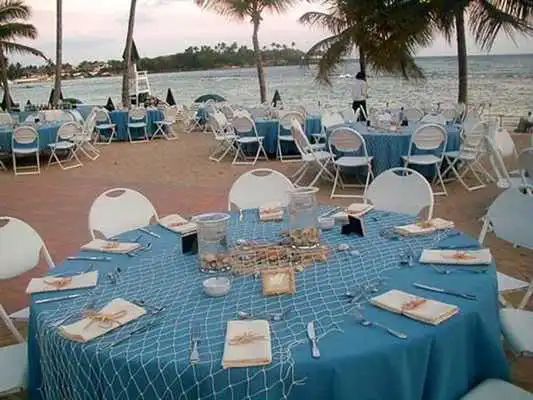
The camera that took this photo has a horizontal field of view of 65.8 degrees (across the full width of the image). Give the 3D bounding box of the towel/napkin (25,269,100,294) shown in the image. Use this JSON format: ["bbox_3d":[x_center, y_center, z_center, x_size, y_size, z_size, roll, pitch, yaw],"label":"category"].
[{"bbox_3d":[-1.172,0.472,2.368,0.301,0.053,0.182,-4,9,-5],"label":"towel/napkin"}]

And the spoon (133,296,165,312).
[{"bbox_3d":[-0.616,0.538,2.122,0.127,0.037,0.072,21,23,21],"label":"spoon"}]

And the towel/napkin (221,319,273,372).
[{"bbox_3d":[-0.083,0.631,1.835,0.217,0.096,0.225,-2,14,0],"label":"towel/napkin"}]

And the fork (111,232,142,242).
[{"bbox_3d":[-0.995,0.265,2.948,0.242,0.045,0.038,-5,6,31],"label":"fork"}]

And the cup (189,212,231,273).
[{"bbox_3d":[-0.322,0.247,2.444,0.236,0.311,0.234,-3,14,1],"label":"cup"}]

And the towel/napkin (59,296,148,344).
[{"bbox_3d":[-0.795,0.583,2.014,0.185,0.058,0.261,12,24,35],"label":"towel/napkin"}]

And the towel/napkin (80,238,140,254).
[{"bbox_3d":[-1.054,0.310,2.774,0.218,0.046,0.167,3,8,13],"label":"towel/napkin"}]

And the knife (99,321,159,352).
[{"bbox_3d":[-0.645,0.636,1.916,0.208,0.012,0.028,-23,34,-37],"label":"knife"}]

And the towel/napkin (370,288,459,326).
[{"bbox_3d":[0.720,0.511,2.000,0.179,0.053,0.242,-12,16,-43],"label":"towel/napkin"}]

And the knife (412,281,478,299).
[{"bbox_3d":[0.933,0.466,2.134,0.244,0.014,0.035,8,32,32],"label":"knife"}]

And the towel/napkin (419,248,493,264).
[{"bbox_3d":[1.091,0.328,2.392,0.227,0.042,0.179,-3,7,10],"label":"towel/napkin"}]

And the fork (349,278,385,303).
[{"bbox_3d":[0.538,0.468,2.154,0.275,0.034,0.079,-26,23,-36],"label":"fork"}]

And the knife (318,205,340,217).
[{"bbox_3d":[0.498,0.087,3.271,0.050,0.019,0.376,34,27,27],"label":"knife"}]

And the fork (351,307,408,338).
[{"bbox_3d":[0.537,0.576,1.922,0.203,0.038,0.034,22,32,38],"label":"fork"}]
